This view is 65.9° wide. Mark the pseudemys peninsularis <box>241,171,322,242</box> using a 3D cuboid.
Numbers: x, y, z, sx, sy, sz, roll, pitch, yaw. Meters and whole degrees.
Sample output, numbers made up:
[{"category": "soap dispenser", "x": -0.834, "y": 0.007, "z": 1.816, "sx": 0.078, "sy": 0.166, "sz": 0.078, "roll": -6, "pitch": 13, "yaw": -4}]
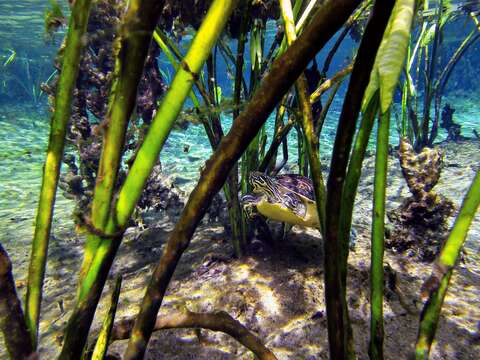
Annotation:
[{"category": "pseudemys peninsularis", "x": 0.604, "y": 0.138, "z": 4.699, "sx": 0.654, "sy": 0.418, "sz": 1.021, "roll": -6, "pitch": -34, "yaw": 42}]
